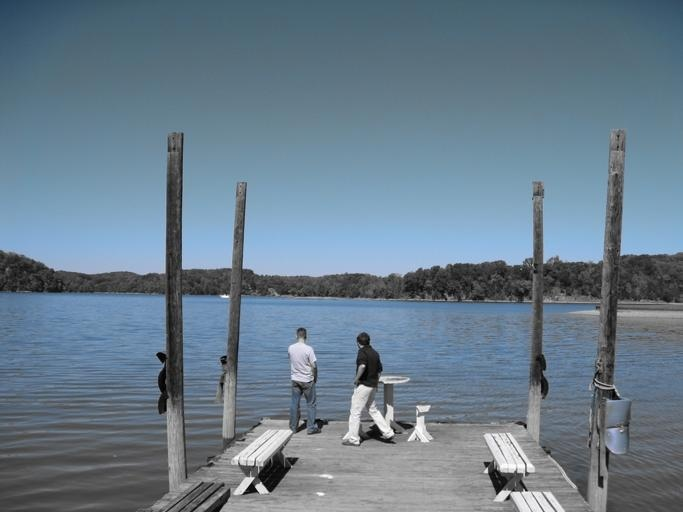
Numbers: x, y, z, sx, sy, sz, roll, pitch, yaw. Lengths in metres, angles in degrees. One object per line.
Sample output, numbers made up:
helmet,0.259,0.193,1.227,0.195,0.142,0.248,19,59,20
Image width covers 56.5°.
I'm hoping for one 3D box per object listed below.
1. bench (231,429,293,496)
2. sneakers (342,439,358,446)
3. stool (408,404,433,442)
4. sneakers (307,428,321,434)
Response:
bench,-1.558,4.576,13.130,0.579,0.658,1.981,-6,-19,14
sneakers,0.217,4.346,14.835,0.285,0.111,0.175,4,-8,17
stool,1.909,4.025,15.440,0.602,0.858,0.729,0,-2,8
sneakers,-0.683,4.337,15.751,0.275,0.121,0.130,-1,2,-34
